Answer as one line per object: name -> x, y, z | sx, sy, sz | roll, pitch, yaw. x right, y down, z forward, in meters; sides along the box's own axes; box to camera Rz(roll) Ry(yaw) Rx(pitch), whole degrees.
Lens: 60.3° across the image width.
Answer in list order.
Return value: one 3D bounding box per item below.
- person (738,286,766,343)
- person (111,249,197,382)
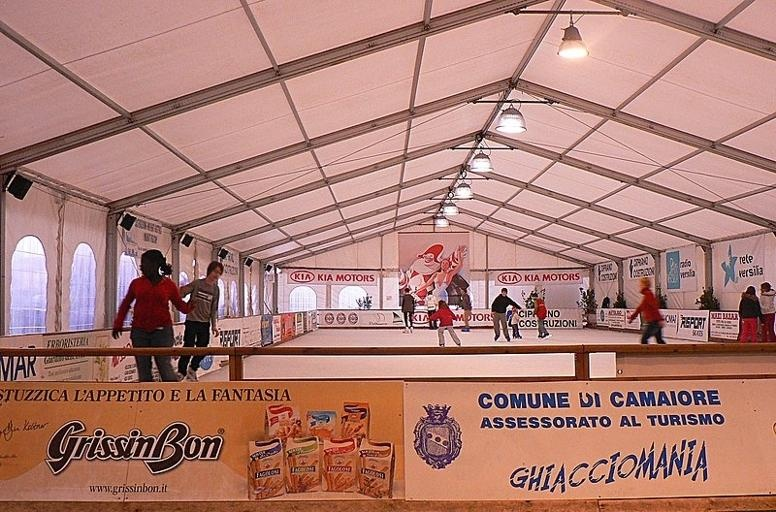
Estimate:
person -> 8.782, 1.379, 16.265 | 0.537, 1.347, 1.700 | -6, -11, 28
person -> -3.251, 0.780, 9.240 | 0.929, 1.812, 1.547 | 4, -10, -23
